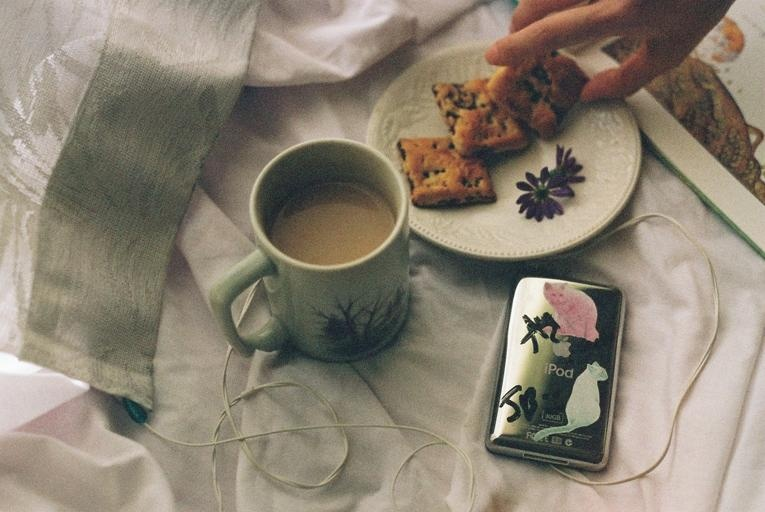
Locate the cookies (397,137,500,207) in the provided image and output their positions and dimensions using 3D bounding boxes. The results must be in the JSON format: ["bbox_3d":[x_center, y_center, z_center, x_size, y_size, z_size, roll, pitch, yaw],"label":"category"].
[{"bbox_3d":[0.097,-0.120,1.152,0.102,0.029,0.112,-6,63,-13],"label":"cookies"}]

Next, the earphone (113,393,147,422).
[{"bbox_3d":[-0.339,0.209,1.086,0.025,0.019,0.055,-45,98,-13],"label":"earphone"}]
